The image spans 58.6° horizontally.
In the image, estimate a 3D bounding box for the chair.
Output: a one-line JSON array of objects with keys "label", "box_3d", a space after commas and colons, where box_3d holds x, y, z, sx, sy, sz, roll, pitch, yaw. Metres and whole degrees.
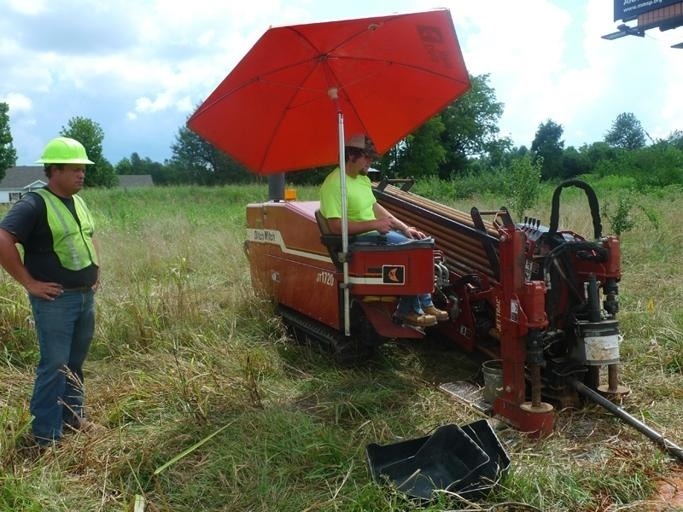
[{"label": "chair", "box_3d": [0.077, -0.194, 5.484, 0.518, 0.585, 0.448, -16, 6, 12]}]

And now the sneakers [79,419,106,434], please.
[{"label": "sneakers", "box_3d": [-2.027, 1.376, 4.884, 0.160, 0.049, 0.065, 26, 31, 15]}]

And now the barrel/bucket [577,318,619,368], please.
[{"label": "barrel/bucket", "box_3d": [2.076, 0.695, 4.875, 0.346, 0.369, 0.348, -2, -3, 0]}]

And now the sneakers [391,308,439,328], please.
[{"label": "sneakers", "box_3d": [0.639, 0.547, 5.340, 0.369, 0.160, 0.147, 0, 3, 16]}]

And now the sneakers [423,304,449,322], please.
[{"label": "sneakers", "box_3d": [0.837, 0.531, 5.505, 0.118, 0.135, 0.309, -11, 9, -34]}]

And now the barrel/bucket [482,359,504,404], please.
[{"label": "barrel/bucket", "box_3d": [1.321, 1.096, 5.290, 0.159, 0.353, 0.470, 0, 9, 13]}]
